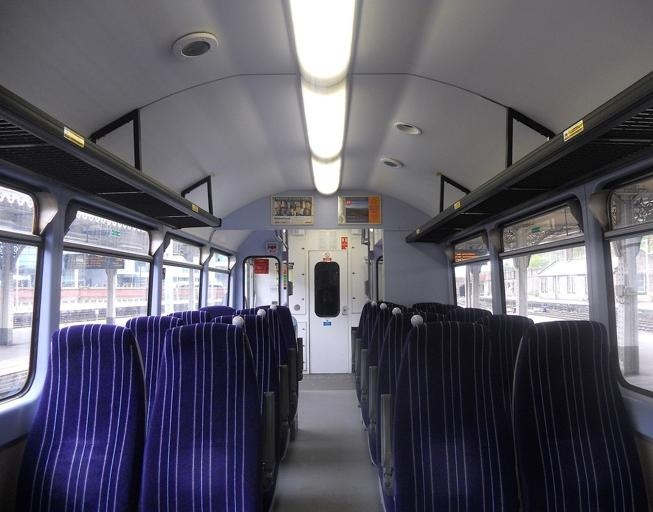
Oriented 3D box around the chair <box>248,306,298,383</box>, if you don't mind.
[{"bbox_3d":[-0.470,1.023,5.231,0.621,1.086,0.857,-1,-8,1],"label":"chair"}]
